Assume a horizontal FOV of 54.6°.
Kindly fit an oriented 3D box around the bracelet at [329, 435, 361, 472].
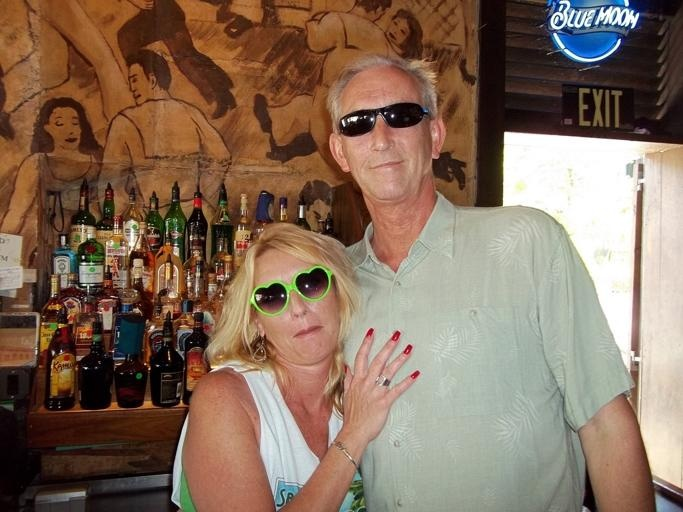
[{"bbox_3d":[0.013,0.782,2.642,0.044,0.108,0.095,-37,-17,-26],"label":"bracelet"}]
